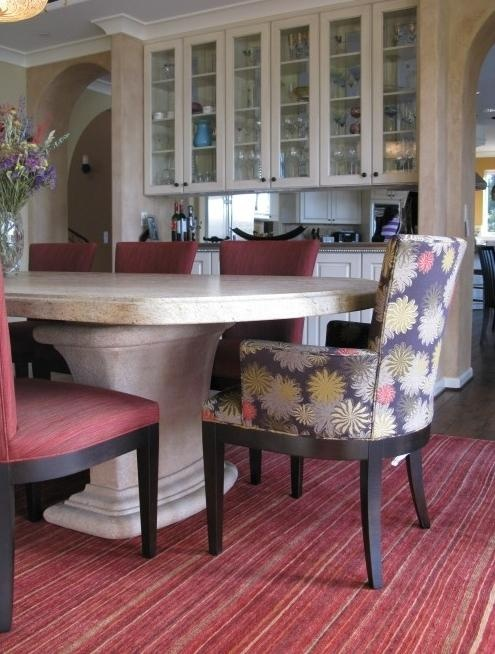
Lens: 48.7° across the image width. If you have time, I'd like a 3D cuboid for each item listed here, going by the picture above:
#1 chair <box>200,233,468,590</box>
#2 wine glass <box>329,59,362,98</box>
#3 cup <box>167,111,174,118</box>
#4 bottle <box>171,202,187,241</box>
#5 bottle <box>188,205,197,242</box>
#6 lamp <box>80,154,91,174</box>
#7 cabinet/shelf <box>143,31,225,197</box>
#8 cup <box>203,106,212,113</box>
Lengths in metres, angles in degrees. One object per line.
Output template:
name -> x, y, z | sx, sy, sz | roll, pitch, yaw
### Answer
chair -> 0.210, 0.169, 1.452 | 0.641, 0.811, 0.624 | 0, 6, -6
wine glass -> 0.682, -1.732, 3.793 | 0.259, 0.258, 0.141 | 7, 14, 43
cup -> -0.620, -1.716, 4.427 | 0.053, 0.041, 0.053 | 0, 13, 0
bottle -> -0.573, -0.884, 4.594 | 0.120, 0.314, 0.159 | 0, 3, -6
bottle -> -0.477, -0.892, 4.711 | 0.059, 0.286, 0.144 | 0, 3, 7
lamp -> -2.233, -2.274, 7.599 | 0.138, 0.248, 0.201 | -1, 3, -16
cabinet/shelf -> -0.460, -1.647, 4.455 | 0.710, 1.190, 0.350 | 1, 2, 18
cup -> -0.310, -1.712, 4.304 | 0.051, 0.047, 0.031 | 7, 14, 24
